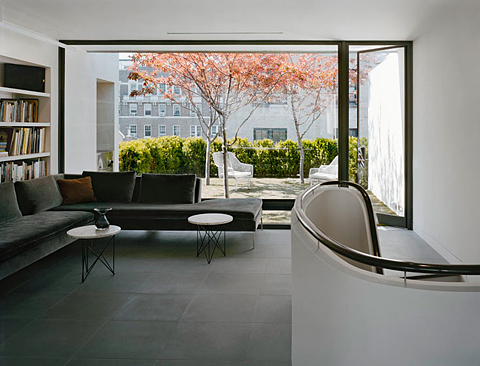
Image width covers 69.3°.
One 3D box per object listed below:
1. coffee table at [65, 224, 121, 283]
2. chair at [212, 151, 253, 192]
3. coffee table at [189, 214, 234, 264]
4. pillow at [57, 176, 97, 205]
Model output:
[{"bbox_3d":[-1.649,0.829,4.055,0.562,0.503,0.549,3,-4,-14],"label":"coffee table"},{"bbox_3d":[-0.119,-0.224,6.265,0.584,0.721,0.603,-7,6,-36],"label":"chair"},{"bbox_3d":[-0.441,0.801,4.862,0.537,0.484,0.529,1,-5,-14],"label":"coffee table"},{"bbox_3d":[-2.673,0.051,5.642,0.580,0.180,0.598,20,11,-48],"label":"pillow"}]
